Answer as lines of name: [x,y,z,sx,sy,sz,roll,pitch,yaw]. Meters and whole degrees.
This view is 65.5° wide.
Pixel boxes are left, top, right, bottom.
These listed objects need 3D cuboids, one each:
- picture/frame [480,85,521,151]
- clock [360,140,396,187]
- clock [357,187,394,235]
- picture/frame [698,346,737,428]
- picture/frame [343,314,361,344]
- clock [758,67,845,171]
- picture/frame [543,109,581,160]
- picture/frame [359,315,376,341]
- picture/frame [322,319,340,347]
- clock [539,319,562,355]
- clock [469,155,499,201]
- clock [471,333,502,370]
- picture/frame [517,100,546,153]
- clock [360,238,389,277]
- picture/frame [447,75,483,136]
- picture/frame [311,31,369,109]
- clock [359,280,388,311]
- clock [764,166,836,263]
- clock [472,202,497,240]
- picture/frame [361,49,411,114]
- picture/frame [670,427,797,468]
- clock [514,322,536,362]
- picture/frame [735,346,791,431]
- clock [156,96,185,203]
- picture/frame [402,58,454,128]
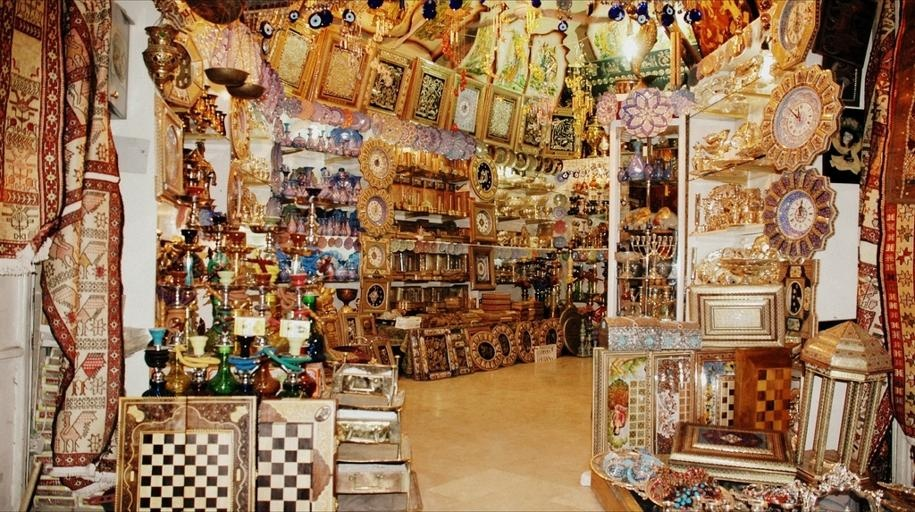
picture/frame: [0.702,-2.143,11.155,0.053,0.869,0.915,-3,22,-28]
clock: [-1.043,-1.210,9.469,0.157,0.628,0.639,-5,-8,37]
clock: [-1.106,-0.585,9.494,0.217,0.615,0.583,-5,-8,37]
picture/frame: [2.137,1.067,5.881,0.328,0.610,0.094,1,-6,-7]
picture/frame: [-1.361,0.940,9.234,0.272,0.327,0.096,3,-9,-42]
clock: [2.809,-1.092,5.741,0.076,0.962,0.919,8,-1,-25]
picture/frame: [1.771,-1.974,11.877,0.724,0.650,0.163,-5,18,-24]
picture/frame: [-1.192,0.955,9.391,0.055,0.355,0.352,-18,-12,34]
picture/frame: [-1.584,0.965,8.993,0.120,0.361,0.277,-2,2,13]
clock: [1.482,1.230,11.004,0.157,0.480,0.461,0,0,24]
clock: [0.391,-1.186,10.800,0.095,0.633,0.711,-5,-12,33]
clock: [0.417,1.321,10.095,0.213,0.533,0.499,-5,-8,40]
picture/frame: [1.171,-2.100,11.382,0.079,0.875,0.884,3,3,40]
clock: [-1.130,0.018,9.576,0.067,0.524,0.572,-7,-5,40]
picture/frame: [0.117,-2.182,10.597,0.072,0.836,0.906,9,7,33]
picture/frame: [-1.520,-2.405,9.087,0.102,0.831,0.965,13,27,41]
clock: [-1.106,0.545,9.634,0.060,0.487,0.543,-2,-7,37]
clock: [2.828,-0.347,5.903,0.102,0.741,0.636,3,-7,-28]
clock: [0.399,-0.521,10.784,0.083,0.572,0.625,-8,-6,38]
picture/frame: [-0.973,-2.370,9.561,0.073,0.962,0.950,27,23,38]
picture/frame: [2.092,1.444,5.472,0.851,0.233,0.221,-2,-6,13]
clock: [1.016,1.291,10.585,0.111,0.482,0.520,-6,-4,30]
picture/frame: [2.530,1.126,5.880,0.380,0.582,0.226,8,-3,-16]
clock: [-2.462,-0.889,6.092,0.145,0.826,0.471,1,-6,-7]
picture/frame: [-0.370,-2.271,10.187,0.086,0.879,0.929,-7,27,-40]
